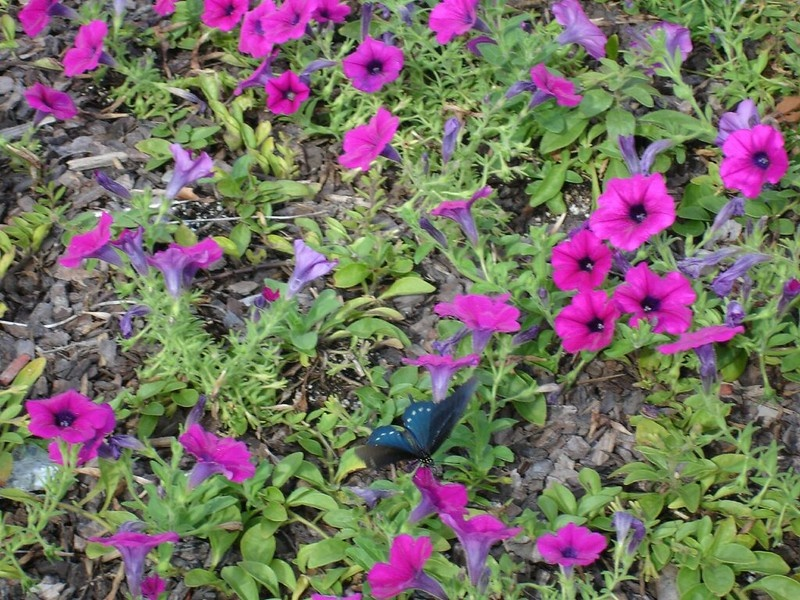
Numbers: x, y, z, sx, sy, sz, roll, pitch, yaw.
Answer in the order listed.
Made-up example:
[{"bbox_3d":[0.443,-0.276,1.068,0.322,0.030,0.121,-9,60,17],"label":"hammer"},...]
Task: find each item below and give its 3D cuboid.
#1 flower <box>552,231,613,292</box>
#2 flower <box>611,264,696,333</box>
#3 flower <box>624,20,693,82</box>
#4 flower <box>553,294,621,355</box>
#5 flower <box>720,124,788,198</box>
[{"bbox_3d":[0.681,-0.151,2.387,0.250,0.202,0.095,1,39,10],"label":"flower"},{"bbox_3d":[0.858,0.003,2.238,0.294,0.121,0.216,5,60,-1],"label":"flower"},{"bbox_3d":[1.008,-0.975,2.478,0.190,0.174,0.086,18,71,-20],"label":"flower"},{"bbox_3d":[0.640,0.081,2.232,0.276,0.122,0.191,7,91,12],"label":"flower"},{"bbox_3d":[1.293,-0.508,2.371,0.338,0.139,0.242,-3,94,23],"label":"flower"}]
